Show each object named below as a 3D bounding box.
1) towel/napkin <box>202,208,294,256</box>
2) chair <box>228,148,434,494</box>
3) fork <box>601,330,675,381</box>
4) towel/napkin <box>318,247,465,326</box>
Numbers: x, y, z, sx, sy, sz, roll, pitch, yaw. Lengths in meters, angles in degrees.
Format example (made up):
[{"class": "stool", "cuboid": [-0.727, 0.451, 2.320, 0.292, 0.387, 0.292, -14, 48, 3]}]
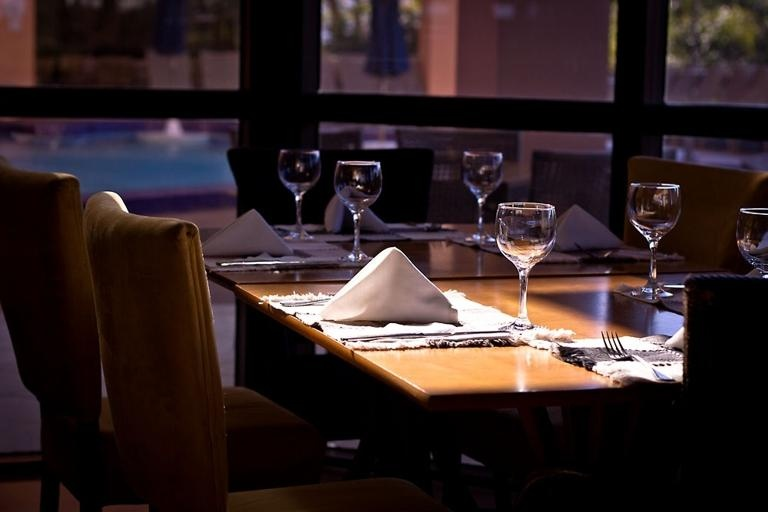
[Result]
[{"class": "towel/napkin", "cuboid": [-0.418, -0.076, 2.179, 0.232, 0.135, 0.348, 0, 0, -10]}, {"class": "chair", "cuboid": [-0.091, 0.377, 2.274, 0.485, 0.782, 0.544, 4, 28, 15]}, {"class": "fork", "cuboid": [0.419, 0.161, 1.187, 0.027, 0.039, 0.202, 4, 11, -15]}, {"class": "towel/napkin", "cuboid": [0.013, 0.059, 1.343, 0.221, 0.134, 0.139, 1, 1, -3]}]
